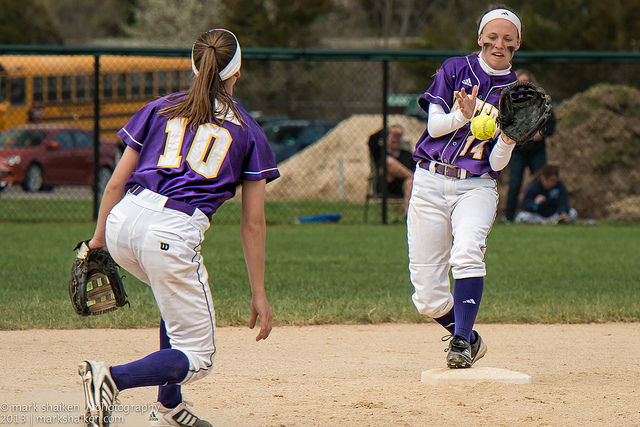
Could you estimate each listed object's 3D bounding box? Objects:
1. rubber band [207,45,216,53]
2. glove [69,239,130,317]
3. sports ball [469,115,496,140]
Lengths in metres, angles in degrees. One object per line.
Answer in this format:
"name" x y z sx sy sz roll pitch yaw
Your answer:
"rubber band" -1.249 -1.894 13.384 0.074 0.074 0.091 2 4 -4
"glove" -2.598 0.755 13.590 0.663 0.873 0.240 -1 5 -11
"sports ball" 1.986 -1.047 14.166 0.270 0.278 0.263 -16 43 16
